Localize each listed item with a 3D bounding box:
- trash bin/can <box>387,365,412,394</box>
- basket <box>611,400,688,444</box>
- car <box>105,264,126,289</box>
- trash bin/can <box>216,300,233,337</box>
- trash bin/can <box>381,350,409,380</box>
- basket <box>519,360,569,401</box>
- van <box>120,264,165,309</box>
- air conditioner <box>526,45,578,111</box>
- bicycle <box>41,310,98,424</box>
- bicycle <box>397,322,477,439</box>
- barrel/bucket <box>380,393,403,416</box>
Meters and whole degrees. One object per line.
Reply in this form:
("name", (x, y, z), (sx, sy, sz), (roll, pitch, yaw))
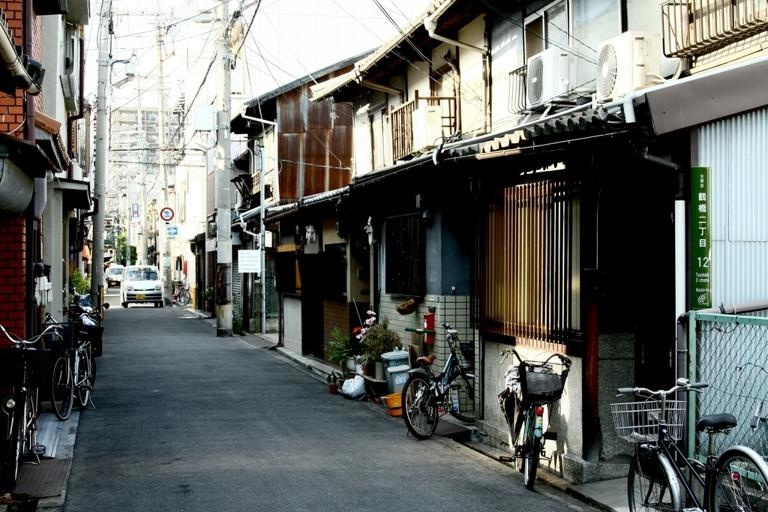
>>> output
("trash bin/can", (0.217, 2.403, 17.147), (0.508, 0.672, 0.445), (1, -6, -15))
("basket", (3.110, 2.001, 10.724), (0.632, 0.516, 0.981), (1, -3, -35))
("car", (-21.512, 1.727, 70.615), (1.668, 1.713, 3.207), (-1, -7, -16))
("trash bin/can", (-5.677, 2.244, 31.368), (0.510, 1.120, 0.892), (-1, 9, -16))
("trash bin/can", (0.230, 2.045, 17.038), (0.569, 0.633, 0.449), (-1, -1, -28))
("basket", (2.244, 1.798, 12.481), (0.692, 0.524, 0.475), (3, 9, 8))
("van", (-14.025, 1.729, 50.999), (1.739, 2.130, 3.908), (0, -1, -23))
("air conditioner", (2.842, -3.019, 15.256), (0.537, 0.987, 1.013), (2, -1, -26))
("bicycle", (-5.697, 1.969, 16.104), (1.113, 1.686, 2.746), (-4, -3, 1))
("bicycle", (0.821, 2.207, 14.870), (2.132, 1.583, 0.595), (1, -2, -23))
("barrel/bucket", (0.187, 2.761, 16.423), (0.431, 0.360, 0.458), (-1, -5, 0))
